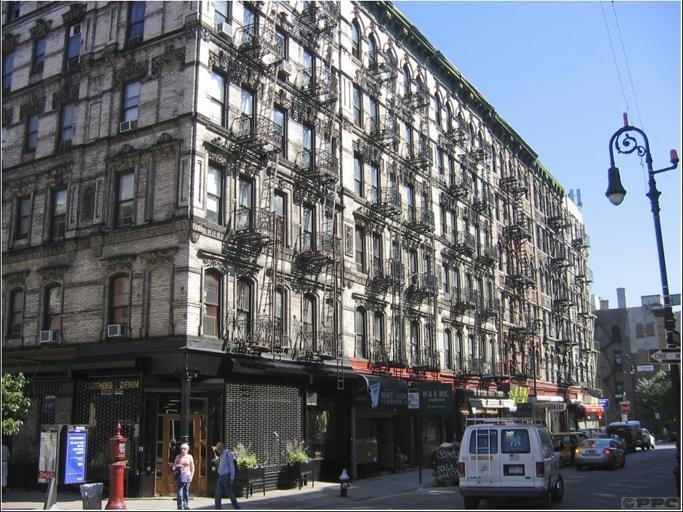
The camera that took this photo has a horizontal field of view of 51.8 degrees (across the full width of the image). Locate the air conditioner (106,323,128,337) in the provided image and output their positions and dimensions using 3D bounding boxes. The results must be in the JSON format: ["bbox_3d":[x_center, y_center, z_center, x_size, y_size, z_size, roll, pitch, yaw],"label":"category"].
[{"bbox_3d":[-9.465,3.165,29.524,0.604,0.631,0.461,0,-9,13],"label":"air conditioner"}]

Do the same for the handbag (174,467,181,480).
[{"bbox_3d":[-5.628,7.438,23.914,0.241,0.320,0.282,13,5,11],"label":"handbag"}]

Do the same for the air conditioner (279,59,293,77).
[{"bbox_3d":[-2.756,-9.258,34.619,0.475,0.607,1.105,13,5,13],"label":"air conditioner"}]

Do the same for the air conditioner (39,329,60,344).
[{"bbox_3d":[-13.066,3.631,31.284,0.775,0.731,0.565,-1,-10,-4],"label":"air conditioner"}]

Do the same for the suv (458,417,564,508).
[{"bbox_3d":[6.028,7.283,25.134,2.316,1.907,3.749,-5,-12,18],"label":"suv"}]
